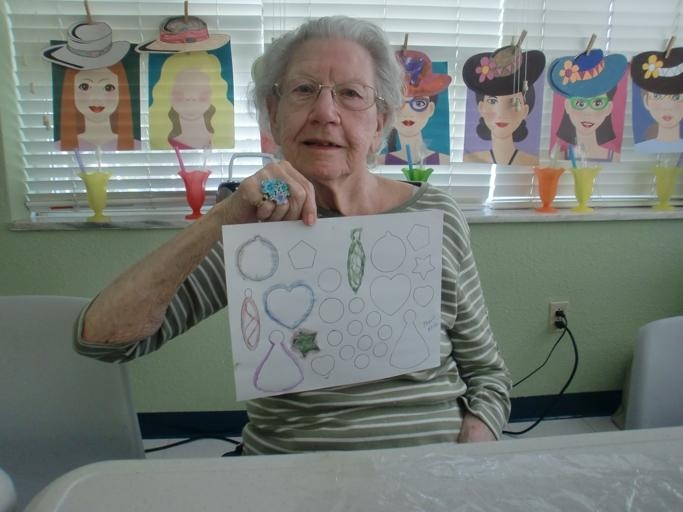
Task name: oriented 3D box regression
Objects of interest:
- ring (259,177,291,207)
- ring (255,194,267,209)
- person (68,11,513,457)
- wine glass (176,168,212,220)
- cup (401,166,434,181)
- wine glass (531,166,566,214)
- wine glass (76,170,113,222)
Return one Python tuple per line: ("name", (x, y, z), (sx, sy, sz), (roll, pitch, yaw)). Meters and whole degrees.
("ring", (-0.151, -0.149, 1.385), (0.061, 0.055, 0.024), (34, -9, -6))
("ring", (-0.188, -0.131, 1.419), (0.023, 0.030, 0.032), (1, 42, 7))
("person", (-0.069, -0.057, 1.604), (1.072, 1.127, 0.481), (1, 14, 3))
("wine glass", (-0.604, -0.256, 2.473), (0.135, 0.211, 0.141), (-19, -17, 42))
("cup", (0.313, -0.341, 2.498), (0.116, 0.060, 0.120), (-1, 4, 0))
("wine glass", (0.912, -0.305, 2.629), (0.125, 0.190, 0.219), (5, 15, 20))
("wine glass", (-0.998, -0.243, 2.454), (0.154, 0.219, 0.142), (-4, -2, -17))
